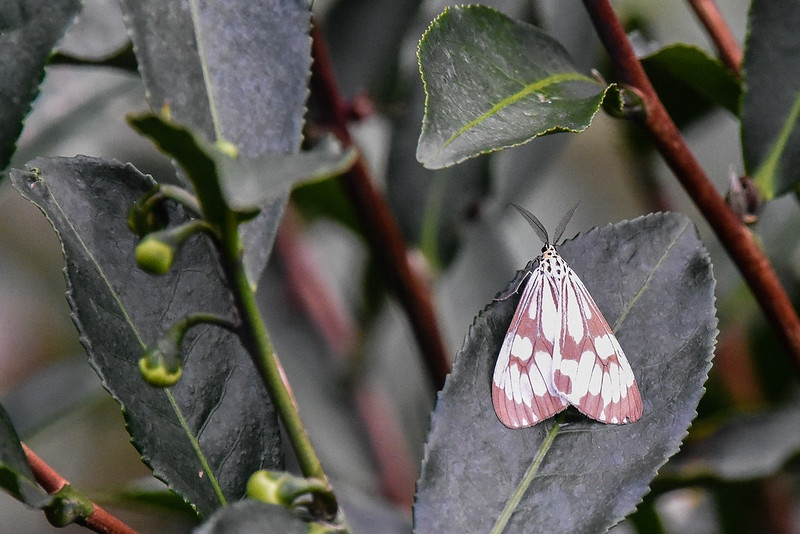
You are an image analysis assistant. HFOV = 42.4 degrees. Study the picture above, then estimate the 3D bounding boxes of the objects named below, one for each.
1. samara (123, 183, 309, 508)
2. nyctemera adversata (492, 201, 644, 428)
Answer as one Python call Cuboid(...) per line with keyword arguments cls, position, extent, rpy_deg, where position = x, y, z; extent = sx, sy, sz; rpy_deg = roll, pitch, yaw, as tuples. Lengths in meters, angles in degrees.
Cuboid(cls="samara", position=(-0.146, 0.052, 0.867), extent=(0.174, 0.234, 0.093), rpy_deg=(3, 18, -7))
Cuboid(cls="nyctemera adversata", position=(0.161, 0.063, 0.987), extent=(0.146, 0.149, 0.125), rpy_deg=(7, 19, 3))
